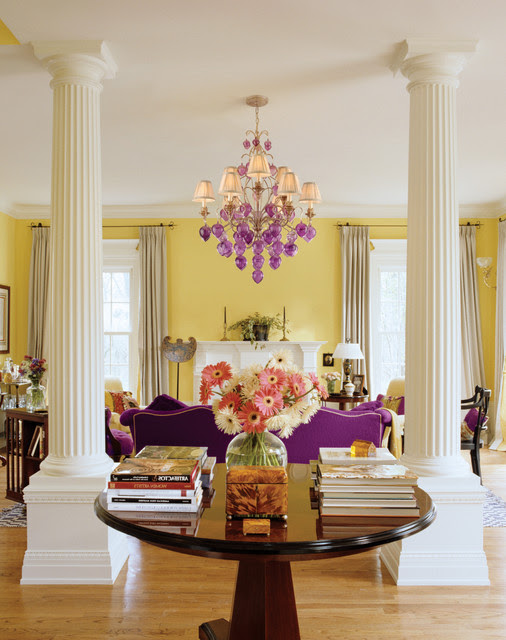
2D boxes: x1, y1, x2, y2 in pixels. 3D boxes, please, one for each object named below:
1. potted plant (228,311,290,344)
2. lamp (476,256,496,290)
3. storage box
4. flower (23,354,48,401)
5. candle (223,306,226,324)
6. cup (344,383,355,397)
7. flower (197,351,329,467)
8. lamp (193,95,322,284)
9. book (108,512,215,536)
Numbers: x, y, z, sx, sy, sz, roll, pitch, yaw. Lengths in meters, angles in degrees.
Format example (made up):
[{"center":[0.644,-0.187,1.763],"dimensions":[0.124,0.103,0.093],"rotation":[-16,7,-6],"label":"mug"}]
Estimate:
[{"center":[0.062,0.095,7.980],"dimensions":[0.757,0.382,0.336],"rotation":[0,-1,-3],"label":"potted plant"},{"center":[3.044,-0.629,8.037],"dimensions":[0.224,0.386,0.133],"rotation":[0,-1,12],"label":"lamp"},{"center":[0.011,0.506,1.791],"dimensions":[0.167,0.109,0.154],"rotation":[1,-4,-3],"label":"storage box"},{"center":[-1.674,0.465,4.673],"dimensions":[0.159,0.364,0.342],"rotation":[1,-2,-20],"label":"flower"},{"center":[-0.386,-0.068,8.128],"dimensions":[0.042,0.219,0.019],"rotation":[1,-1,-8],"label":"candle"},{"center":[1.087,0.798,6.935],"dimensions":[0.131,0.127,0.133],"rotation":[2,-12,0],"label":"cup"},{"center":[-0.022,0.288,2.165],"dimensions":[0.485,0.413,0.375],"rotation":[3,-4,-19],"label":"flower"},{"center":[0.031,-1.097,4.825],"dimensions":[0.990,1.296,1.033],"rotation":[4,5,19],"label":"lamp"},{"center":[-0.291,0.581,1.737],"dimensions":[0.279,0.014,0.192],"rotation":[0,-1,-1],"label":"book"}]
